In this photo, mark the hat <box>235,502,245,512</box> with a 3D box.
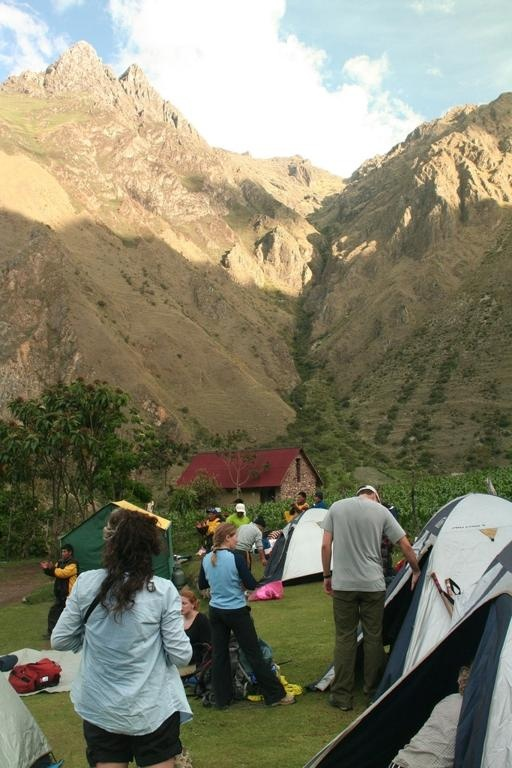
[{"bbox_3d":[-0.279,2.098,11.518,0.137,0.097,0.195,9,-9,-4],"label":"hat"}]

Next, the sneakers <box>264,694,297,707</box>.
[{"bbox_3d":[0.221,2.949,6.325,0.269,0.115,0.102,-7,2,-11],"label":"sneakers"}]

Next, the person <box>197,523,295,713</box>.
[{"bbox_3d":[-0.173,2.184,6.330,0.692,1.210,0.537,-3,-1,35],"label":"person"}]
